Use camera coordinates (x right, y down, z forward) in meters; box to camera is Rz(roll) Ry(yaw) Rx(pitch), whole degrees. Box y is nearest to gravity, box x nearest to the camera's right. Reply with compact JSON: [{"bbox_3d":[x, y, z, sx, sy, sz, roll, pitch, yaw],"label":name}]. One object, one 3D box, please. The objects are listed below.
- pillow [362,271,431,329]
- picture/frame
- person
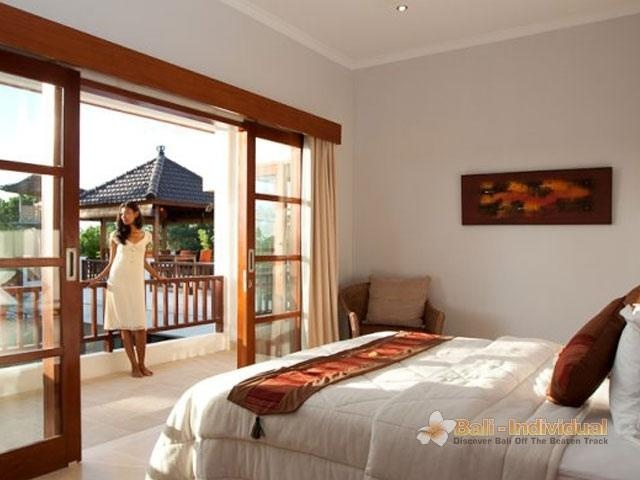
[{"bbox_3d":[0.853,0.615,5.015,0.905,0.721,0.461,0,-13,23],"label":"pillow"},{"bbox_3d":[2.087,-0.413,4.548,1.340,0.561,0.031,0,-10,21],"label":"picture/frame"},{"bbox_3d":[-2.089,0.528,4.970,0.528,1.858,0.404,-2,5,-17],"label":"person"}]
